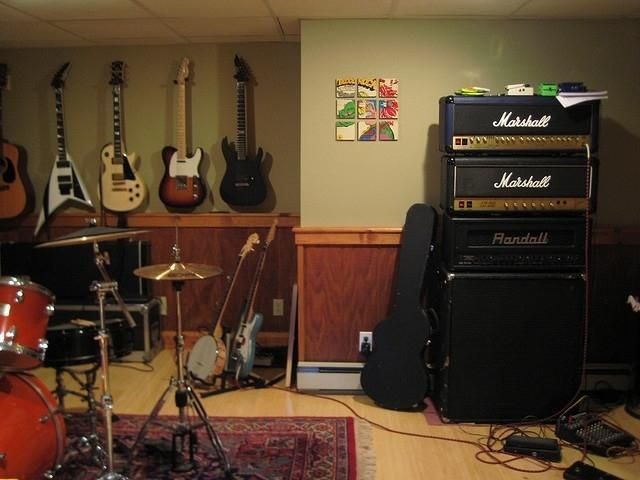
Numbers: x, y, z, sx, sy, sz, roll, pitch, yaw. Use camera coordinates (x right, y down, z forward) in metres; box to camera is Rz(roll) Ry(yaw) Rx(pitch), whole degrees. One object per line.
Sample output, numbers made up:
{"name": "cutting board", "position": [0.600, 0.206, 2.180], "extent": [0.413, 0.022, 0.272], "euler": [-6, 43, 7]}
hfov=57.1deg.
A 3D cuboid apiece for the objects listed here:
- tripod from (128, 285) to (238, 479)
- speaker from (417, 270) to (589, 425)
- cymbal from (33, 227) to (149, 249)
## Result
{"name": "tripod", "position": [-0.933, 0.972, 3.999], "extent": [0.828, 1.292, 0.744], "euler": [0, 16, -2]}
{"name": "speaker", "position": [1.185, 0.610, 4.084], "extent": [1.077, 1.145, 0.827], "euler": [0, 2, 4]}
{"name": "cymbal", "position": [-1.202, -0.020, 3.143], "extent": [0.397, 0.084, 0.408], "euler": [2, -3, -9]}
